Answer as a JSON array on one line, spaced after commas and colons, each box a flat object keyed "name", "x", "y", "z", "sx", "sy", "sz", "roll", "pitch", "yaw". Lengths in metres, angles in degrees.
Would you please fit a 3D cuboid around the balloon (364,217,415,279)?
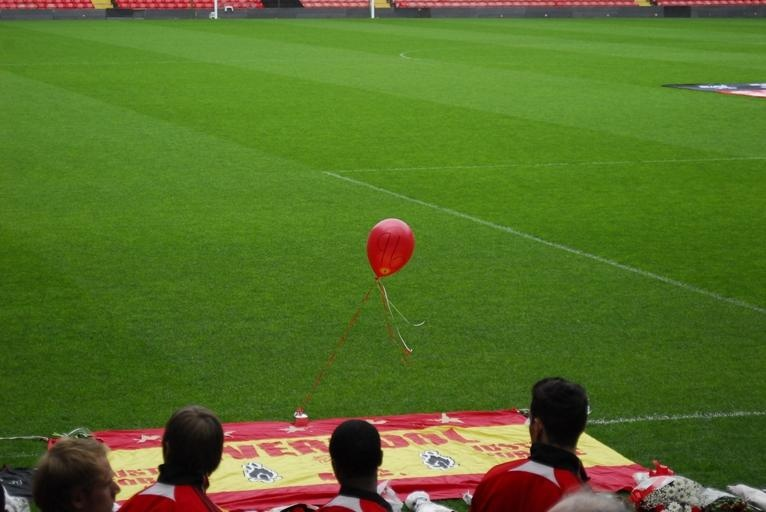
[{"name": "balloon", "x": 0.116, "y": -0.102, "z": 12.019, "sx": 0.470, "sy": 0.765, "sz": 0.795, "roll": 3, "pitch": -6, "yaw": 6}]
